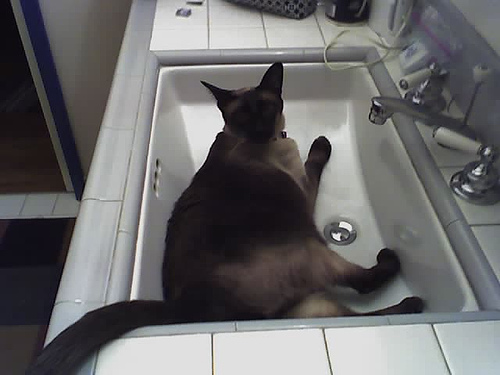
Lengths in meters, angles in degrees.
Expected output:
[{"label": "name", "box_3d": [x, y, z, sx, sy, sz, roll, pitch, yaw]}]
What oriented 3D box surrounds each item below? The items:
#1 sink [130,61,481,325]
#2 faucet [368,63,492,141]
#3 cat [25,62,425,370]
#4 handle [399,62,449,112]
[{"label": "sink", "box_3d": [0.274, -0.053, 1.406, 0.655, 0.441, 1.125, -2, 46, -2]}, {"label": "faucet", "box_3d": [0.614, -0.279, 1.239, 0.392, 0.289, 0.115, 6, 41, -13]}, {"label": "cat", "box_3d": [-0.104, -0.018, 1.286, 1.042, 0.245, 1.027, -7, 53, -12]}, {"label": "handle", "box_3d": [0.596, -0.337, 1.260, 0.143, 0.154, 0.104, -19, 51, -5]}]
